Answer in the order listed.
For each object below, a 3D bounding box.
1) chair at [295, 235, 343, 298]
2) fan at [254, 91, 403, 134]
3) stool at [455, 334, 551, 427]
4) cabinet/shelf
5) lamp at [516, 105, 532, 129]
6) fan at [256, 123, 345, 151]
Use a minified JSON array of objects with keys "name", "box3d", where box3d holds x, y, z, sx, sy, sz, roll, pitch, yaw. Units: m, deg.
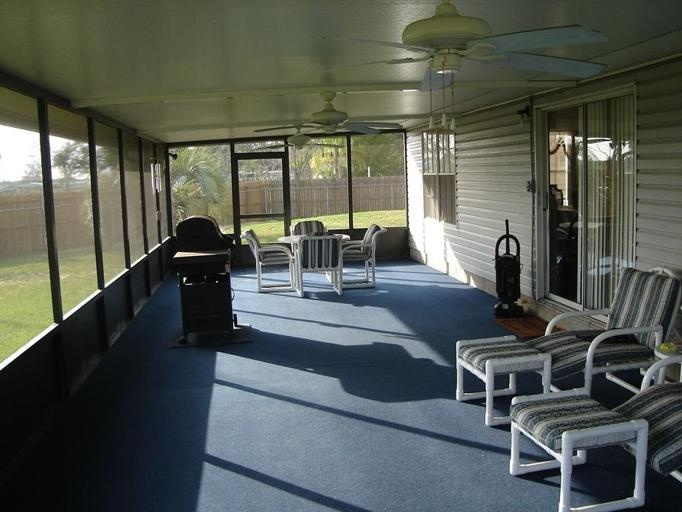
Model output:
[{"name":"chair","box3d":[-0.379,0.108,8.364,0.803,1.002,0.785,-4,12,-5]},{"name":"fan","box3d":[-0.014,-1.542,5.882,1.569,0.342,1.380,-1,3,-11]},{"name":"stool","box3d":[1.212,0.985,4.014,0.808,0.566,0.714,-2,5,-10]},{"name":"cabinet/shelf","box3d":[-1.660,0.478,6.030,0.679,1.092,0.419,-6,13,-13]},{"name":"lamp","box3d":[2.470,-1.854,6.557,0.127,0.251,0.163,10,-3,-36]},{"name":"fan","box3d":[-0.823,-1.877,8.031,1.274,0.384,1.208,-4,5,-40]}]
